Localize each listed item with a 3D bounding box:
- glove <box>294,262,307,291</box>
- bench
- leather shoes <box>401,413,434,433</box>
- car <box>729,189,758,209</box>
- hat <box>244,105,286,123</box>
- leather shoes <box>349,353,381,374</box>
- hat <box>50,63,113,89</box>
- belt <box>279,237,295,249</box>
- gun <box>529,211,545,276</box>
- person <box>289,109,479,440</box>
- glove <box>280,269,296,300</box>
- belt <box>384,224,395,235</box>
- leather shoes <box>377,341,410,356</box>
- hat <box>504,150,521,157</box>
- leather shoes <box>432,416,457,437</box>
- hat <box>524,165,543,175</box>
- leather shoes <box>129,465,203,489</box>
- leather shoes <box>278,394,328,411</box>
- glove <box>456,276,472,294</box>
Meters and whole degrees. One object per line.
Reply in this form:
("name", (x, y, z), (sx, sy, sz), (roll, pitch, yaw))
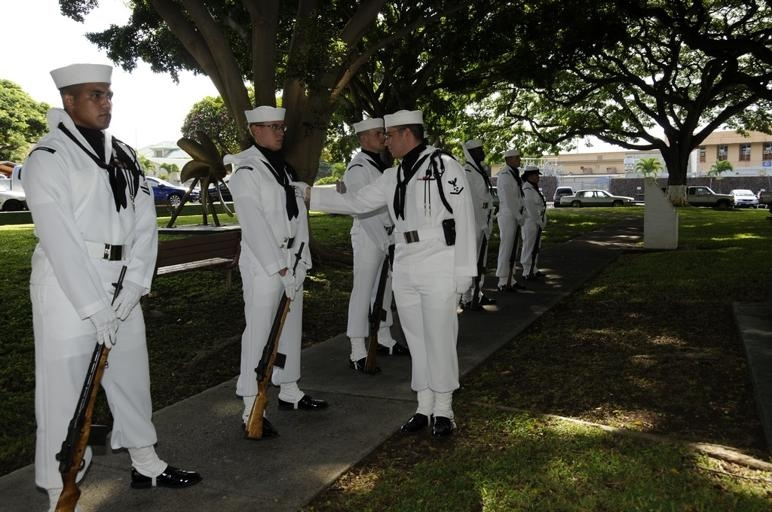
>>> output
("glove", (-0.826, 0.176, 5.314), (0.079, 0.220, 0.139), (16, 3, 3))
("bench", (-3.427, 0.144, 9.504), (0.740, 0.978, 1.805), (6, 10, 28))
("leather shoes", (0.303, 1.575, 5.215), (0.118, 0.118, 0.328), (-7, -5, 41))
("car", (30.413, -5.136, 46.612), (2.071, 1.462, 4.765), (0, -2, 23))
("hat", (-1.122, -1.406, 5.321), (0.273, 0.092, 0.230), (-3, 3, -45))
("leather shoes", (-0.249, 1.276, 6.613), (0.165, 0.185, 0.464), (3, 2, -36))
("hat", (-2.159, -1.289, 3.916), (0.386, 0.171, 0.298), (-6, 11, -25))
("belt", (-0.955, -0.140, 5.342), (0.118, 0.080, 0.083), (5, 2, 0))
("gun", (3.295, -0.287, 12.058), (0.339, 1.421, 0.067), (12, 8, 27))
("person", (0.325, 0.081, 5.383), (0.791, 2.989, 1.230), (-9, 13, -34))
("glove", (-0.888, 0.255, 5.146), (0.072, 0.266, 0.159), (-3, 17, 33))
("belt", (0.064, -0.350, 6.982), (0.107, 0.137, 0.056), (1, -5, -13))
("leather shoes", (0.101, 1.216, 7.273), (0.552, 0.182, 0.188), (0, -6, 7))
("hat", (2.565, -2.100, 11.079), (0.237, 0.081, 0.190), (1, -3, 3))
("leather shoes", (0.537, 1.576, 5.106), (0.111, 0.111, 0.276), (1, 1, 20))
("hat", (3.233, -1.882, 11.803), (0.333, 0.081, 0.314), (1, -1, -21))
("leather shoes", (-1.706, 1.735, 4.337), (0.527, 0.189, 0.201), (-2, -4, -7))
("leather shoes", (-0.843, 1.478, 5.656), (0.433, 0.142, 0.190), (-1, -3, 1))
("glove", (0.739, 0.258, 5.168), (0.140, 0.179, 0.220), (1, 10, 12))
